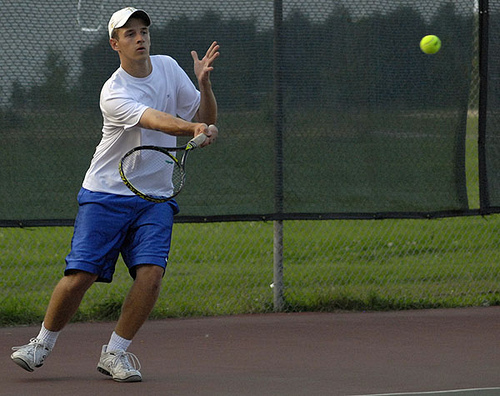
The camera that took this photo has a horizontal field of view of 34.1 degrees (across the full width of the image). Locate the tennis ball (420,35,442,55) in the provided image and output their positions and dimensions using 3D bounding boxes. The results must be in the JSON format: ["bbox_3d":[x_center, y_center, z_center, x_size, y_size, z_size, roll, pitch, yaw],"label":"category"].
[{"bbox_3d":[1.438,-1.225,6.501,0.146,0.140,0.143,-4,39,3],"label":"tennis ball"}]

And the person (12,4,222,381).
[{"bbox_3d":[-0.768,-0.023,4.904,1.255,2.195,0.679,-3,9,-14],"label":"person"}]
